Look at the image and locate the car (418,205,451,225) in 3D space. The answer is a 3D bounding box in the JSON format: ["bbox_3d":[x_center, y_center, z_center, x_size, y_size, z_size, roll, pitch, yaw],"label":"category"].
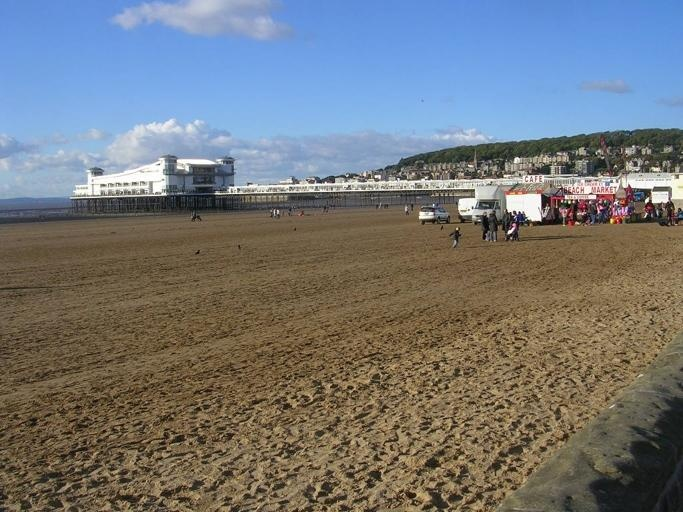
[{"bbox_3d":[6.762,-2.911,40.362,1.134,0.842,2.141,5,13,37],"label":"car"}]

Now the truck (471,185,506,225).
[{"bbox_3d":[9.393,-3.356,36.089,1.627,2.156,3.732,4,17,32],"label":"truck"}]
